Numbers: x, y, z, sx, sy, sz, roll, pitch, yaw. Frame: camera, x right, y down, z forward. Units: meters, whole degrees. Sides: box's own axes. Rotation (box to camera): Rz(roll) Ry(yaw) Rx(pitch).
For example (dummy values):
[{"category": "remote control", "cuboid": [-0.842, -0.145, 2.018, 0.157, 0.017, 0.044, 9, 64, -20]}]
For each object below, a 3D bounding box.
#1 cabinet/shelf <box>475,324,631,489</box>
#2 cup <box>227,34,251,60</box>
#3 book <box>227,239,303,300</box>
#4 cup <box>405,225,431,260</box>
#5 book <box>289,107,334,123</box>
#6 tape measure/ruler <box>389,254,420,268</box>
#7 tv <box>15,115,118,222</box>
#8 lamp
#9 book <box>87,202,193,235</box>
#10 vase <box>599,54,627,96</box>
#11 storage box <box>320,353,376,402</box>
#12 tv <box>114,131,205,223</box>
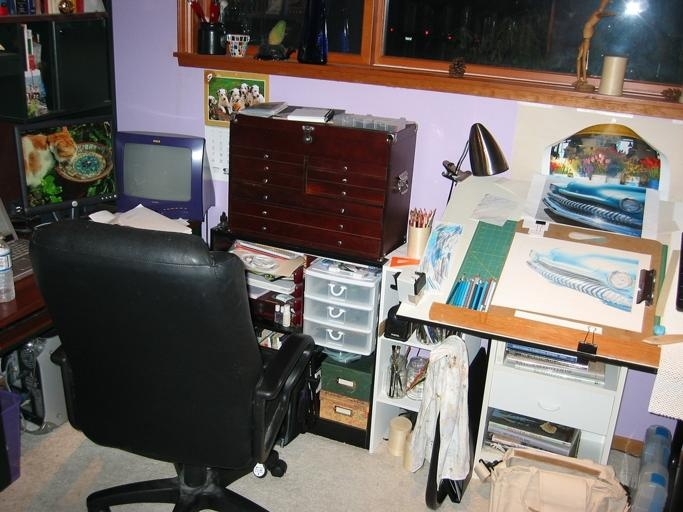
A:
[{"category": "cabinet/shelf", "cuboid": [0.889, 0.546, 2.610, 0.764, 0.786, 0.545, 8, 8, 16]}, {"category": "cup", "cuboid": [-0.556, -1.146, 2.987, 0.134, 0.120, 0.136, 2, 26, -1]}, {"category": "book", "cuboid": [-0.399, 0.082, 2.810, 0.352, 0.108, 0.263, 14, 34, 1]}, {"category": "cup", "cuboid": [0.329, -0.078, 2.598, 0.135, 0.159, 0.135, 2, 19, -1]}, {"category": "book", "cuboid": [-0.143, -0.697, 2.655, 0.213, 0.050, 0.281, 4, 20, 3]}, {"category": "tape measure/ruler", "cuboid": [0.288, 0.026, 2.507, 0.130, 0.020, 0.113, 7, 20, 13]}, {"category": "tv", "cuboid": [-1.400, -0.455, 2.745, 0.064, 0.505, 0.575, 18, 23, 35]}, {"category": "lamp", "cuboid": [0.615, -0.443, 2.552, 0.271, 0.382, 0.398, 6, 20, 9]}, {"category": "book", "cuboid": [-0.903, -0.180, 2.523, 0.297, 0.058, 0.196, 10, 20, 2]}, {"category": "vase", "cuboid": [1.231, -0.823, 2.470, 0.101, 0.175, 0.174, 11, 21, 23]}, {"category": "storage box", "cuboid": [0.030, 0.613, 2.734, 0.234, 0.148, 0.235, 4, 6, 23]}, {"category": "tv", "cuboid": [-0.971, -0.431, 2.923, 0.413, 0.369, 0.238, 6, 18, 8]}]
